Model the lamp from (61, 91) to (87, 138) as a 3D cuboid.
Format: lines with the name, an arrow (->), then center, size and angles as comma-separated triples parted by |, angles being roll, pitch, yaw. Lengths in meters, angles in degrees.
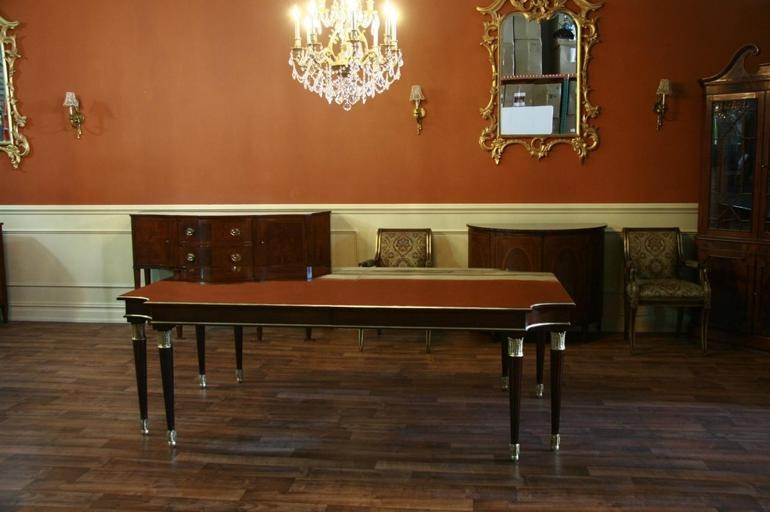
lamp -> -3.633, -1.643, 7.654 | 0.227, 0.546, 0.199 | -2, 8, -4

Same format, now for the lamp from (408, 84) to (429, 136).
lamp -> 0.378, -1.620, 7.326 | 0.168, 0.518, 0.097 | -1, 8, 3

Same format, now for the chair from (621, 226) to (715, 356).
chair -> 2.879, 0.284, 6.791 | 0.819, 1.147, 0.930 | 1, 5, 21

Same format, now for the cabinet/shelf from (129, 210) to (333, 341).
cabinet/shelf -> -1.766, 0.143, 7.332 | 2.064, 1.245, 0.723 | 2, 8, 9

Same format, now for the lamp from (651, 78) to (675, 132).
lamp -> 2.988, -1.623, 7.056 | 0.183, 0.525, 0.157 | 0, 8, 13

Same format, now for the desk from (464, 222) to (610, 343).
desk -> 1.656, 0.320, 7.064 | 1.488, 1.281, 0.582 | 0, 5, 3
